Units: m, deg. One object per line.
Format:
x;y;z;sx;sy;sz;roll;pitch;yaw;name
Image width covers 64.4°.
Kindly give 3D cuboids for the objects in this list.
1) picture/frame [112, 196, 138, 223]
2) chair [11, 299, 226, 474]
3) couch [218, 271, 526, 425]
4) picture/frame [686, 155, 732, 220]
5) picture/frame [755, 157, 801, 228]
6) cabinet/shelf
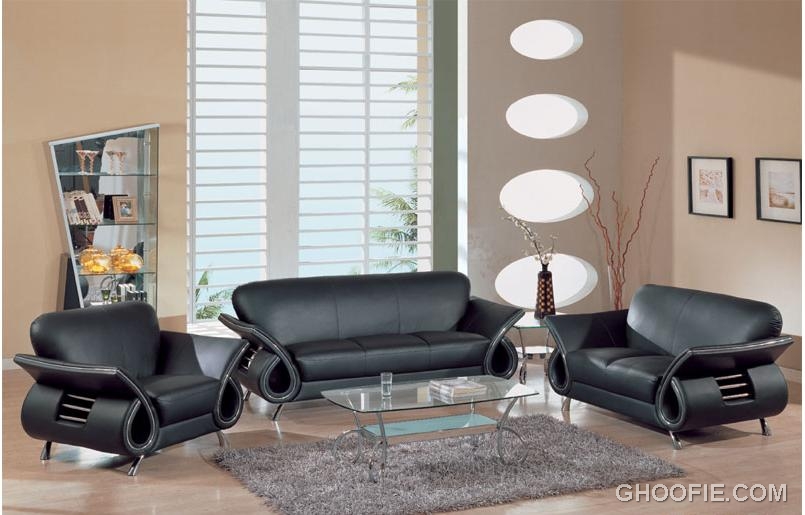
-2.907;-0.500;6.663;0.300;0.316;0.033;-3;3;-40;picture/frame
-1.926;0.875;4.665;1.171;1.109;1.620;0;1;26;chair
-0.232;0.663;5.757;2.586;0.914;0.923;-2;8;-25;couch
3.228;-0.738;6.708;0.066;0.762;0.766;0;0;-23;picture/frame
3.569;-0.630;6.071;0.074;0.622;0.508;-4;10;-23;picture/frame
-2.982;-0.415;6.601;1.034;1.927;0.397;-5;11;-27;cabinet/shelf
